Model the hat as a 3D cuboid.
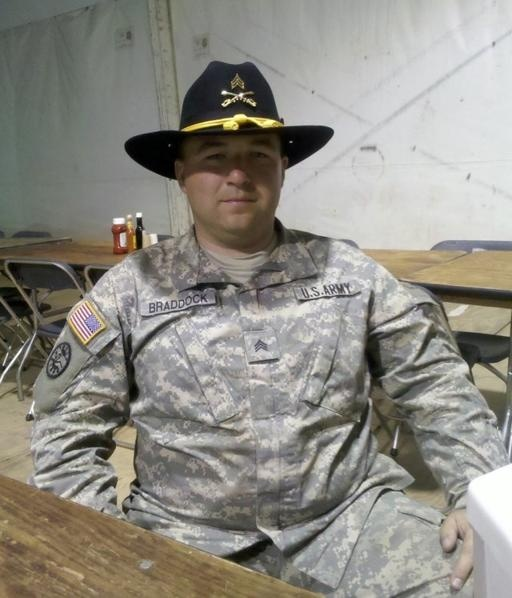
[{"bbox_3d":[-0.081,-0.379,1.350,0.428,0.153,0.432,-2,1,-3],"label":"hat"}]
